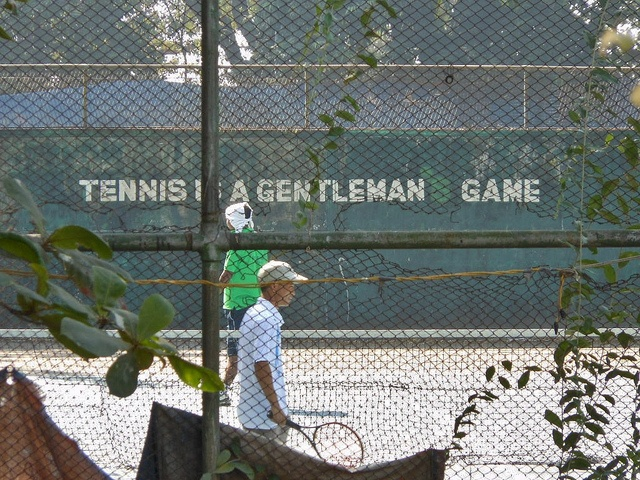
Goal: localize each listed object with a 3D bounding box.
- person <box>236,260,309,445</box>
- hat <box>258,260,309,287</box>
[{"bbox_3d":[-0.479,1.080,13.367,0.588,1.701,0.888,1,5,-4],"label":"person"},{"bbox_3d":[-0.376,0.311,13.519,0.400,0.185,0.250,-1,0,5],"label":"hat"}]
